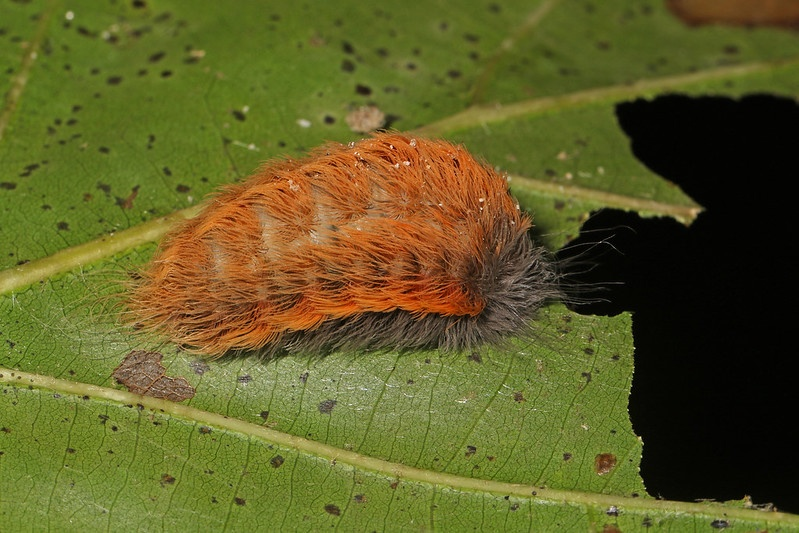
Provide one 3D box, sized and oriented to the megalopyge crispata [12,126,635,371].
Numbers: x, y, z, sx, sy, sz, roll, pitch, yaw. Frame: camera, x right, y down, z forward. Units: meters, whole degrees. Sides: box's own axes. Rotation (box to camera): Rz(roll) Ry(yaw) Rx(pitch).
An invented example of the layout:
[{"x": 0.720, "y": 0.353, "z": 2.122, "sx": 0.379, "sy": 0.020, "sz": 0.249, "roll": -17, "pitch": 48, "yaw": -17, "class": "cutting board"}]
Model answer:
[{"x": -0.335, "y": -0.036, "z": 5.826, "sx": 2.747, "sy": 0.523, "sz": 1.411, "roll": -11, "pitch": 81, "yaw": 0, "class": "megalopyge crispata"}]
